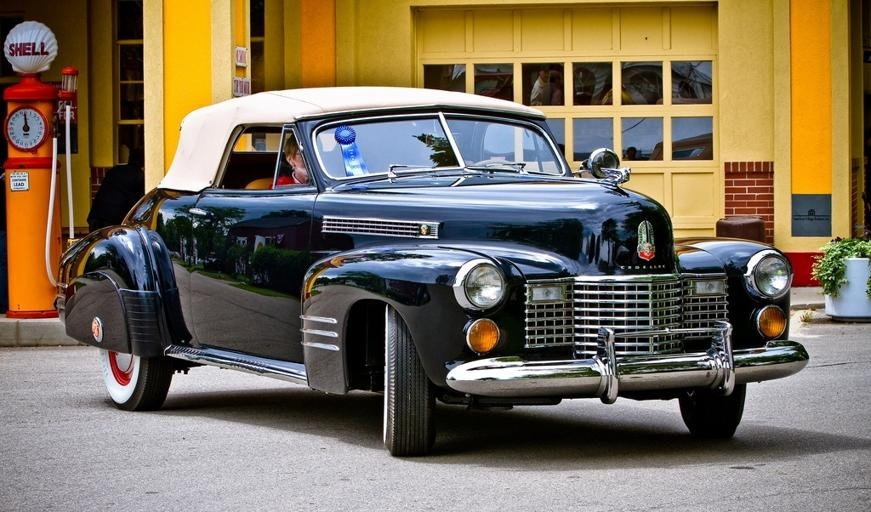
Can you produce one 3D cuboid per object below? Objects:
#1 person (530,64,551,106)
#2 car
[{"bbox_3d":[2.098,-3.432,18.641,0.303,0.614,0.807,10,7,1],"label":"person"},{"bbox_3d":[-0.760,0.031,8.995,3.505,2.041,5.842,2,-2,-39],"label":"car"}]
